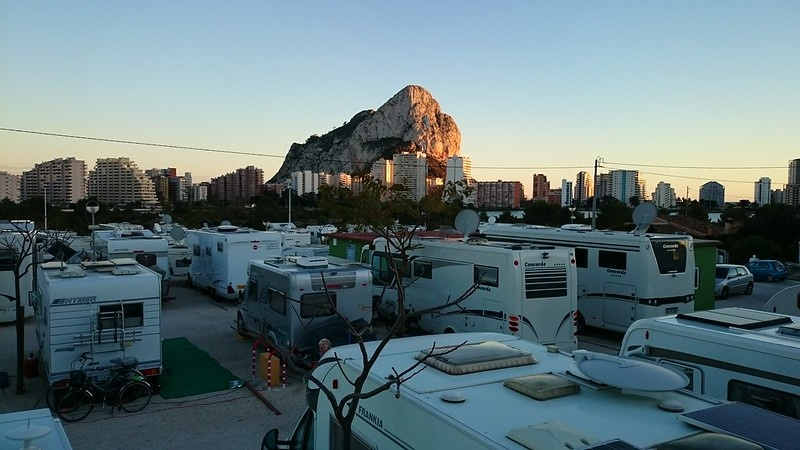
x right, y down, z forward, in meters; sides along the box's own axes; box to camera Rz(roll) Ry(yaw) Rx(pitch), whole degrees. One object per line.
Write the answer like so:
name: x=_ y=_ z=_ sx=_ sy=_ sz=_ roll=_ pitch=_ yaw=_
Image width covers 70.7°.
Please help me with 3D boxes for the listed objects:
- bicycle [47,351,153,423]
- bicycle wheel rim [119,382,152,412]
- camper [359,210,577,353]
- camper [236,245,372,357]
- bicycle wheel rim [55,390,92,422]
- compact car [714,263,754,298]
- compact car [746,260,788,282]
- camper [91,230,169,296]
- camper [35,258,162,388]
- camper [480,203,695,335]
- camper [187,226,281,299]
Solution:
bicycle: x=-8.013 y=4.268 z=15.206 sx=2.933 sy=1.650 sz=1.393 roll=3 pitch=-6 yaw=-20
bicycle wheel rim: x=-7.128 y=4.473 z=14.968 sx=0.874 sy=0.864 sz=0.125 roll=-17 pitch=51 yaw=-38
camper: x=2.084 y=1.937 z=20.062 sx=3.195 sy=4.343 sz=8.875 roll=6 pitch=-2 yaw=-28
camper: x=-3.314 y=2.579 z=18.754 sx=3.130 sy=2.539 sz=5.213 roll=-2 pitch=3 yaw=-34
bicycle wheel rim: x=-8.360 y=4.527 z=14.406 sx=0.866 sy=0.727 sz=0.763 roll=-4 pitch=10 yaw=-29
compact car: x=17.299 y=2.911 z=29.208 sx=3.125 sy=1.603 sz=0.694 roll=-4 pitch=10 yaw=-31
compact car: x=22.843 y=2.788 z=35.379 sx=1.664 sy=1.097 sz=2.670 roll=-3 pitch=8 yaw=-20
camper: x=-9.596 y=1.313 z=19.917 sx=1.807 sy=1.957 sz=2.891 roll=-3 pitch=7 yaw=-23
camper: x=-8.643 y=2.277 z=16.361 sx=2.591 sy=2.281 sz=3.890 roll=0 pitch=8 yaw=-27
camper: x=6.722 y=1.801 z=23.260 sx=3.608 sy=4.144 sz=9.766 roll=0 pitch=1 yaw=-31
camper: x=-7.725 y=1.589 z=26.213 sx=3.070 sy=2.386 sz=4.395 roll=-2 pitch=4 yaw=-36
